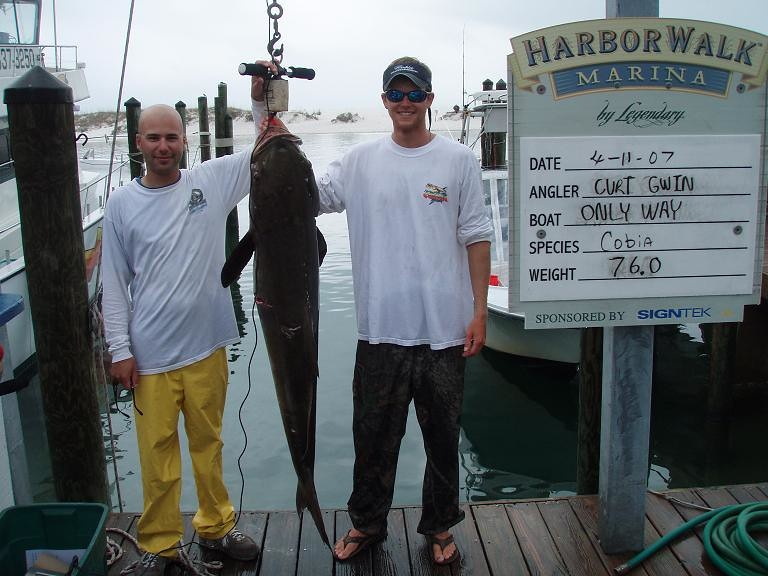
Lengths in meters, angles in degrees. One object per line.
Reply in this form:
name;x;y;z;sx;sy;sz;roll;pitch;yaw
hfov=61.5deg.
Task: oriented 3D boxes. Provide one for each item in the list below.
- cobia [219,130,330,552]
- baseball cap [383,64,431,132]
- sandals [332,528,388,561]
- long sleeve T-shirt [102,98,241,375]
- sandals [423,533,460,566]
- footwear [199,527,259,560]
cobia;-0.466;0.226;3.017;0.403;1.650;0.379;1;6;17
baseball cap;0.095;-1.056;3.464;0.262;0.133;0.300;-13;-25;25
sandals;-0.151;1.494;3.760;0.289;0.086;0.124;-13;23;-25
long sleeve T-shirt;-1.147;-0.262;3.578;0.817;1.422;0.315;-7;13;-26
sandals;0.332;1.519;3.747;0.127;0.076;0.310;-3;2;-3
footwear;-0.870;1.499;3.753;0.346;0.176;0.146;7;12;7
